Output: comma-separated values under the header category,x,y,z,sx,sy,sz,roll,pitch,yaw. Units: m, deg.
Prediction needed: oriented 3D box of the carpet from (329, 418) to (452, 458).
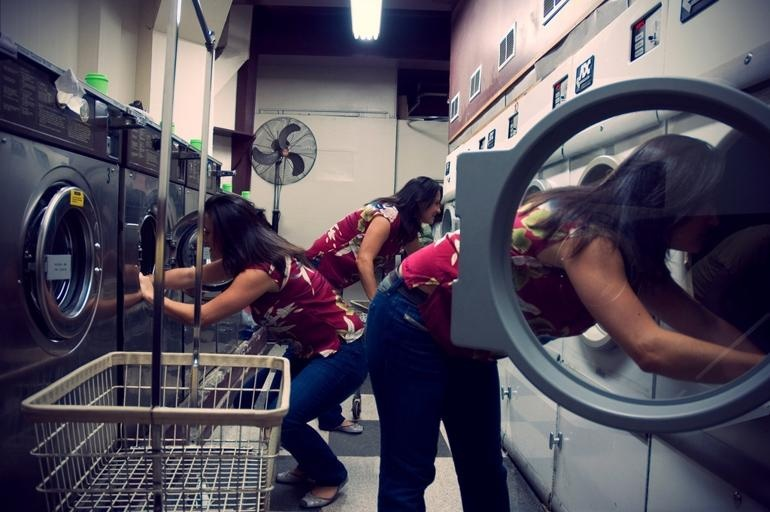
category,x,y,z,sx,sy,sz,roll,pitch,yaw
carpet,0.005,0.728,2.105,0.468,0.035,0.441,0,1,4

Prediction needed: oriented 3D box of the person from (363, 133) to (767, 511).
category,x,y,z,sx,sy,sz,roll,pitch,yaw
person,0.421,0.258,1.504,0.961,1.192,0.457,4,6,2
